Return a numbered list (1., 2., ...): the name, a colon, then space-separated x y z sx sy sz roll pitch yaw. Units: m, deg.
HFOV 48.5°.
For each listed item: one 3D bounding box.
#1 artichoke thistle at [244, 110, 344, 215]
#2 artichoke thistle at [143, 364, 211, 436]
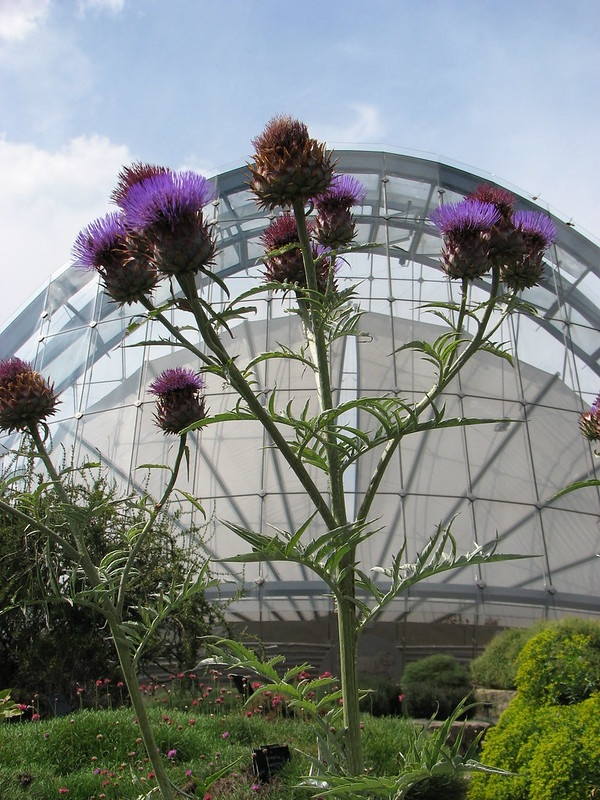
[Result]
1. artichoke thistle: -0.030 -0.594 1.708 0.190 0.262 0.217 4 -13 -20
2. artichoke thistle: -0.431 0.002 2.362 0.187 0.256 0.186 5 -14 -23
